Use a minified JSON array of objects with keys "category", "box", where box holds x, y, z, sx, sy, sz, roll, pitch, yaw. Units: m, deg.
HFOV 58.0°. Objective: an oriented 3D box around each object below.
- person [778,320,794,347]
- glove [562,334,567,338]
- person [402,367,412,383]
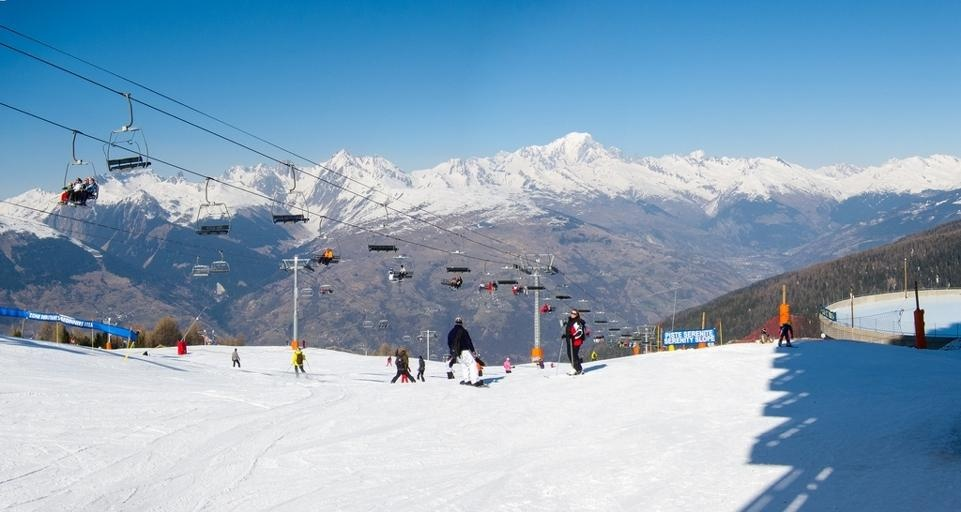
[{"category":"person","box":[21.594,5.455,61.116,0.796,1.783,1.594,-2,-11,15]},{"category":"glove","box":[5.712,5.436,58.367,0.366,0.153,0.454,-1,-2,0]},{"category":"person","box":[-5.115,8.547,62.004,0.834,1.012,2.342,2,-10,-5]}]
